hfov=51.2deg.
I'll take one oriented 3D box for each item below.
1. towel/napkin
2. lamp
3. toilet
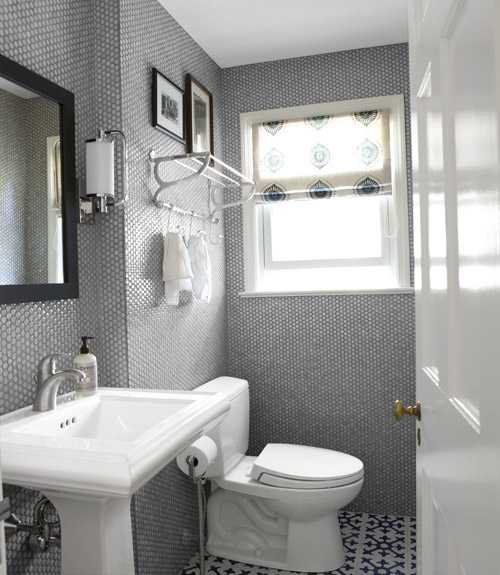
[{"bbox_3d":[-0.271,-0.077,2.160,0.158,0.318,0.345,-3,0,23],"label":"towel/napkin"},{"bbox_3d":[-0.501,-0.386,1.780,0.161,0.338,0.151,0,2,-14],"label":"lamp"},{"bbox_3d":[0.110,0.812,2.553,0.935,0.931,0.598,-1,2,17],"label":"toilet"}]
